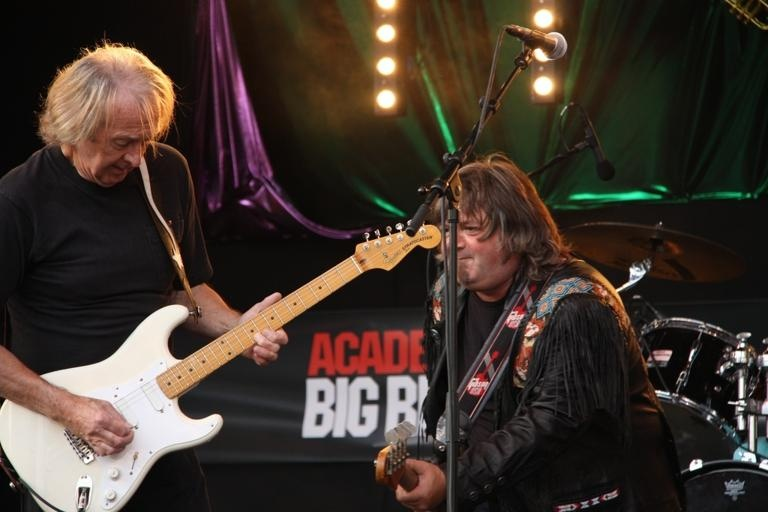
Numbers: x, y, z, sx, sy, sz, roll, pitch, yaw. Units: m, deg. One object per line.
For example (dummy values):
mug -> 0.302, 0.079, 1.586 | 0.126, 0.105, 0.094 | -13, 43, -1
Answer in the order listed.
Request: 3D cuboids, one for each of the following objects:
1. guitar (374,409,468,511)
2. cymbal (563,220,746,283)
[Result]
guitar -> 0.136, 0.904, 3.724 | 0.466, 0.133, 0.473 | 25, -32, 6
cymbal -> 1.723, -0.021, 5.255 | 0.645, 0.136, 0.650 | 19, -30, 2
